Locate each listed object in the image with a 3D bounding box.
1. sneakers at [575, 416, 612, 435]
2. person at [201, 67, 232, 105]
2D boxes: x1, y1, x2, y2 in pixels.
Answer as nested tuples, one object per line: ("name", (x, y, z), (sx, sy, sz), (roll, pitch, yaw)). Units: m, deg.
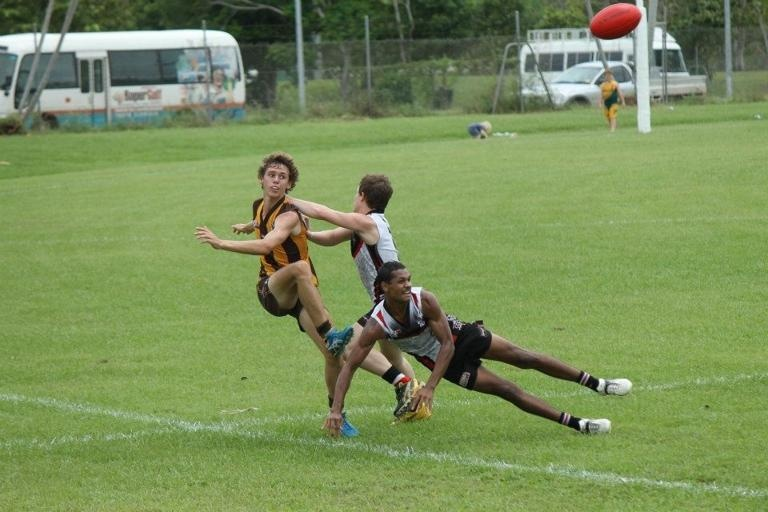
("sneakers", (3.256, 2.627, 20.467), (0.381, 0.231, 0.153), (-1, -34, 3))
("person", (-5.181, -5.335, 41.375), (0.868, 1.160, 0.426), (0, 11, -7))
